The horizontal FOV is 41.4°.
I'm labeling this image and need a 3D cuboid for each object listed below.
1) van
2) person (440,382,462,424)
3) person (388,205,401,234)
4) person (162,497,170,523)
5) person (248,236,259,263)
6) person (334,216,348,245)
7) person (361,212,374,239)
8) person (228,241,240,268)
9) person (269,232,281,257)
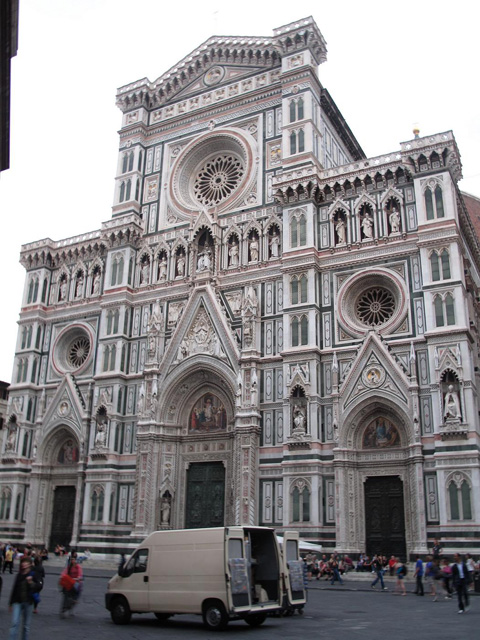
[{"bbox_3d":[-0.910,5.417,13.184,3.672,1.717,2.688,-13,-39,23],"label":"van"},{"bbox_3d":[8.458,3.323,25.506,0.725,1.678,0.386,-6,-21,21],"label":"person"},{"bbox_3d":[7.291,-4.730,30.121,0.655,1.666,0.285,-10,-23,30],"label":"person"},{"bbox_3d":[-3.667,9.409,31.311,0.370,1.215,0.134,2,-20,-2],"label":"person"},{"bbox_3d":[0.713,-3.719,33.734,0.703,1.625,0.178,-17,-27,42],"label":"person"},{"bbox_3d":[4.954,-4.429,31.495,0.673,1.705,0.234,-15,-26,39],"label":"person"},{"bbox_3d":[6.162,-4.560,30.808,0.686,1.679,0.358,-7,-22,24],"label":"person"},{"bbox_3d":[-0.385,-3.577,34.338,0.294,1.709,0.755,13,-23,-29],"label":"person"},{"bbox_3d":[1.777,-3.904,33.216,0.269,1.573,0.594,14,-23,-32],"label":"person"}]
